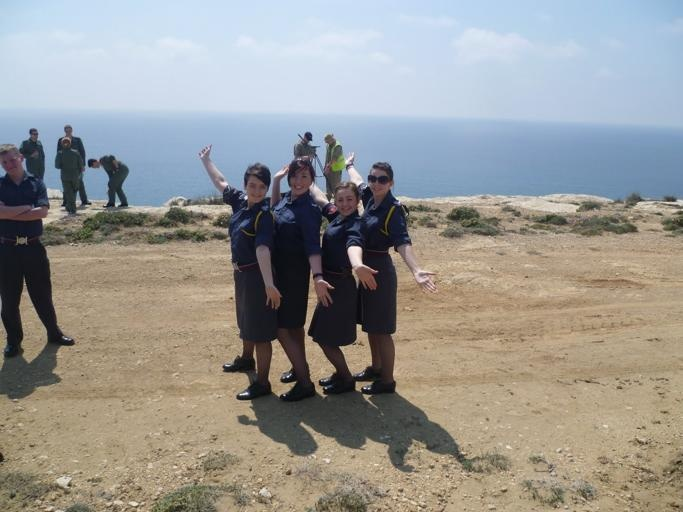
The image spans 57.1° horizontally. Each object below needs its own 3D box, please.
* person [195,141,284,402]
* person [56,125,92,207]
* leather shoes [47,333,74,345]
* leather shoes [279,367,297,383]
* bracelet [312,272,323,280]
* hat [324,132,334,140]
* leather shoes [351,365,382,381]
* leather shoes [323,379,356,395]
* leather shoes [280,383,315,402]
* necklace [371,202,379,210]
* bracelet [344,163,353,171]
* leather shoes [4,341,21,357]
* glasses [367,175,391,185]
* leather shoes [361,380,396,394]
[{"bbox_3d":[-1.150,0.322,7.798,0.696,2.937,1.445,-3,11,-12],"label":"person"},{"bbox_3d":[-8.329,-2.567,19.380,0.903,2.289,0.790,-7,37,-11],"label":"person"},{"bbox_3d":[-3.969,1.197,8.860,0.405,0.149,0.138,1,12,-3],"label":"leather shoes"},{"bbox_3d":[-0.705,1.609,8.227,0.143,0.145,0.363,2,15,3],"label":"leather shoes"},{"bbox_3d":[-0.271,0.232,7.246,0.107,0.086,0.173,-2,9,-8],"label":"bracelet"},{"bbox_3d":[-0.310,-3.060,15.747,0.201,0.181,0.232,9,48,14],"label":"hat"},{"bbox_3d":[0.336,1.591,8.255,0.402,0.149,0.149,0,-1,-4],"label":"leather shoes"},{"bbox_3d":[-0.007,1.692,7.987,0.467,0.163,0.158,-1,4,-7],"label":"leather shoes"},{"bbox_3d":[-0.515,1.718,7.753,0.506,0.198,0.173,-3,11,-14],"label":"leather shoes"},{"bbox_3d":[0.404,-0.613,7.611,0.087,0.057,0.082,4,-1,-28],"label":"necklace"},{"bbox_3d":[0.107,-1.208,8.427,0.107,0.066,0.100,0,9,0],"label":"bracelet"},{"bbox_3d":[-4.480,1.303,8.512,0.123,0.115,0.312,0,1,-17],"label":"leather shoes"},{"bbox_3d":[0.456,-0.919,7.473,0.228,0.096,0.086,3,11,19],"label":"glasses"},{"bbox_3d":[0.484,1.696,7.998,0.452,0.168,0.162,2,-2,-3],"label":"leather shoes"}]
